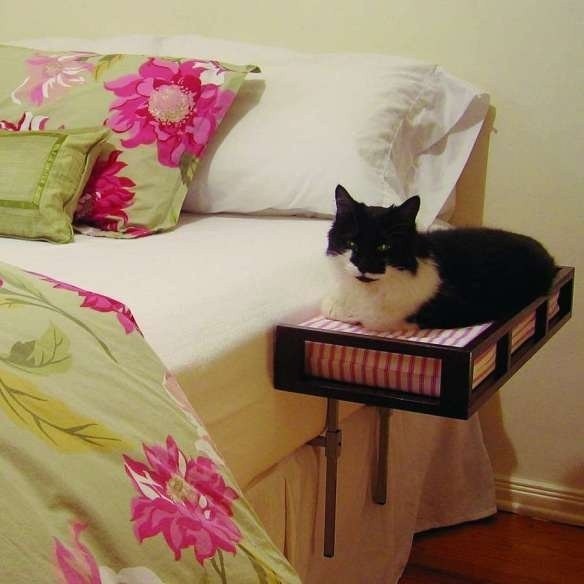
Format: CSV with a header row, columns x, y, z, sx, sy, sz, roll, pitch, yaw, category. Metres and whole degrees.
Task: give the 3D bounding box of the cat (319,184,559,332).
x,y,z,sx,sy,sz,roll,pitch,yaw,category
0.242,-0.062,1.038,0.302,0.161,0.192,-5,7,-27,cat
